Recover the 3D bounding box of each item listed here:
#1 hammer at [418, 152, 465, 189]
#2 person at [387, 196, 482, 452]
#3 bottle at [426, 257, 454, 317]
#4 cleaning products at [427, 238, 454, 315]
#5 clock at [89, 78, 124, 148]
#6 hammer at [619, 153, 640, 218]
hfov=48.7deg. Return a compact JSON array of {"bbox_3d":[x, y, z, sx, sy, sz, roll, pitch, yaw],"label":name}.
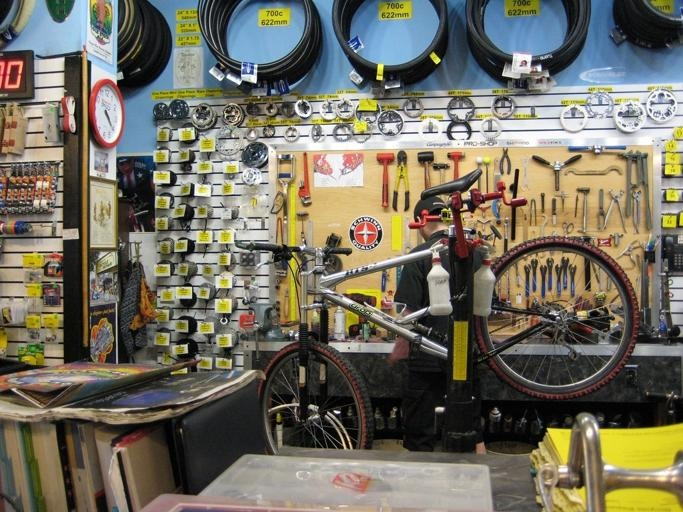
[{"bbox_3d":[0.847,-0.723,6.326,0.430,0.466,0.077,-1,-3,0],"label":"hammer"},{"bbox_3d":[0.699,0.463,5.749,0.632,1.830,0.749,2,5,8],"label":"person"},{"bbox_3d":[0.600,0.193,4.603,0.151,0.344,0.318,1,-3,7],"label":"bottle"},{"bbox_3d":[0.598,0.136,4.650,0.154,0.427,0.195,2,6,12],"label":"cleaning products"},{"bbox_3d":[-1.832,-1.112,5.865,0.098,0.549,0.377,0,-3,12],"label":"clock"},{"bbox_3d":[2.443,-0.601,6.363,0.165,0.510,0.060,2,-1,11],"label":"hammer"}]
